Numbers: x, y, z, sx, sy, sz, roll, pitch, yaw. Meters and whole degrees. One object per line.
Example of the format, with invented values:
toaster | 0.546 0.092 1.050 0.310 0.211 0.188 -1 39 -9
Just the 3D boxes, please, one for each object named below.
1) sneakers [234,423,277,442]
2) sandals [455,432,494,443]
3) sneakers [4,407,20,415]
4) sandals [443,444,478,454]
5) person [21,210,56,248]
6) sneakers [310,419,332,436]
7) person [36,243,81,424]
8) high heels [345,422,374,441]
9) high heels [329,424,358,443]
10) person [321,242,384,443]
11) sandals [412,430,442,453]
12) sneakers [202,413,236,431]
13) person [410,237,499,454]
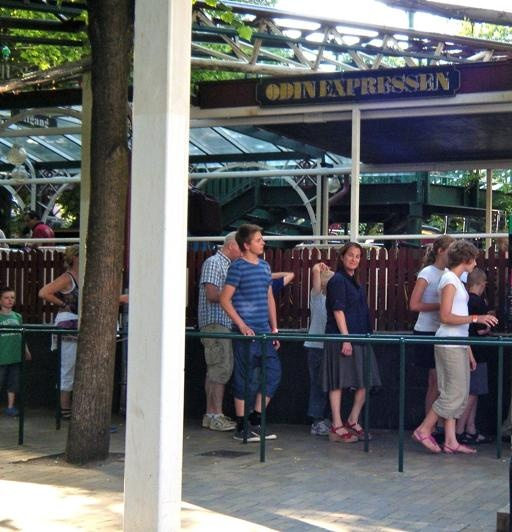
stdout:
sneakers | -0.050 1.678 10.895 0.522 0.215 0.198 -2 -4 22
sandals | 2.180 1.730 10.859 0.394 0.162 0.136 -2 -1 -6
sneakers | -2.810 1.666 12.405 0.147 0.070 0.064 1 0 6
sandals | 1.957 1.740 10.279 0.308 0.095 0.115 -2 0 -8
person | -3.193 -0.558 15.844 0.391 0.532 1.559 -2 0 -11
sneakers | 0.680 1.688 11.302 0.115 0.115 0.194 2 -6 -16
person | -2.151 0.730 11.869 0.422 1.869 1.534 -2 0 -11
high heels | 1.044 1.653 10.957 0.126 0.149 0.335 -5 10 -43
high heels | 0.873 1.683 10.837 0.274 0.130 0.132 -2 0 38
person | 0.940 0.752 10.763 0.557 1.978 0.638 -2 0 3
sandals | 1.615 1.682 10.291 0.293 0.117 0.156 35 20 6
sneakers | -0.384 1.659 11.567 0.374 0.181 0.152 0 0 18
person | 1.864 0.762 10.137 0.743 2.025 0.852 -2 0 13
